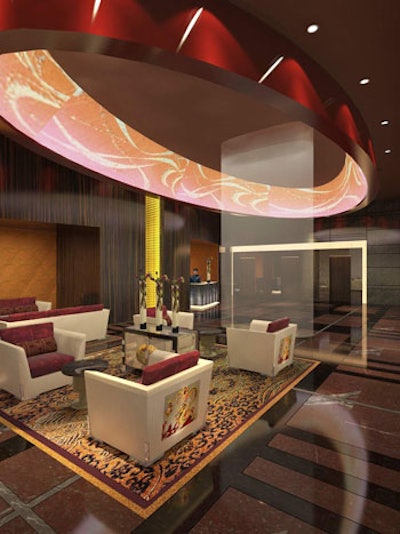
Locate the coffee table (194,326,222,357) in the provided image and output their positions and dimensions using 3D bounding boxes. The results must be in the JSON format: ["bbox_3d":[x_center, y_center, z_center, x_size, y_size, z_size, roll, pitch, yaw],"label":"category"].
[{"bbox_3d":[0.122,1.253,6.228,0.506,0.400,0.476,3,-4,-40],"label":"coffee table"}]

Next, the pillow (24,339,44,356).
[{"bbox_3d":[-2.084,1.010,4.546,0.031,0.127,0.222,-11,-6,25],"label":"pillow"}]

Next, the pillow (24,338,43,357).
[{"bbox_3d":[-2.088,1.007,4.531,0.033,0.134,0.234,-6,-3,28],"label":"pillow"}]

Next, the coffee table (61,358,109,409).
[{"bbox_3d":[-1.287,1.343,4.033,0.448,0.329,0.451,-5,-20,13],"label":"coffee table"}]

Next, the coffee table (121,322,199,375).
[{"bbox_3d":[-0.840,1.306,5.440,0.940,0.527,0.511,16,-34,-27],"label":"coffee table"}]

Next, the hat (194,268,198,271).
[{"bbox_3d":[-0.153,0.091,14.085,0.099,0.093,0.100,-1,-3,39],"label":"hat"}]

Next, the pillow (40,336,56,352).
[{"bbox_3d":[-1.968,1.015,4.758,0.229,0.148,0.165,2,5,22],"label":"pillow"}]

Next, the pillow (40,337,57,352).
[{"bbox_3d":[-1.966,1.014,4.762,0.167,0.181,0.225,0,0,27],"label":"pillow"}]

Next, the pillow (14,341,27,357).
[{"bbox_3d":[-2.066,0.942,4.176,0.198,0.177,0.048,-1,15,38],"label":"pillow"}]

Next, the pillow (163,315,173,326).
[{"bbox_3d":[-0.584,0.985,6.699,0.153,0.125,0.142,0,-4,4],"label":"pillow"}]
